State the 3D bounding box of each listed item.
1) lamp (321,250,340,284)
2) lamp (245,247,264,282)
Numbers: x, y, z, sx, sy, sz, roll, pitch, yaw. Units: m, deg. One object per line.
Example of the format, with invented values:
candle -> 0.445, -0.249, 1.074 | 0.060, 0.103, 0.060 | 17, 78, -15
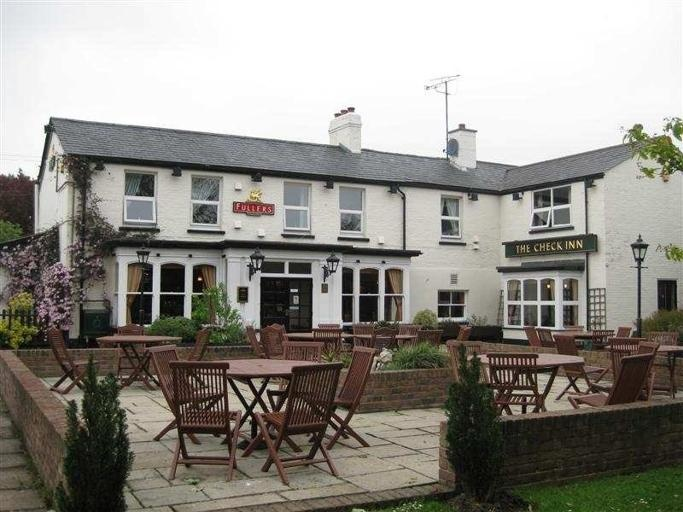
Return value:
lamp -> -0.329, 0.362, 24.316 | 0.537, 0.908, 1.025 | 0, -4, -6
lamp -> -2.571, 0.259, 23.042 | 0.480, 0.912, 1.508 | 0, -4, -6
